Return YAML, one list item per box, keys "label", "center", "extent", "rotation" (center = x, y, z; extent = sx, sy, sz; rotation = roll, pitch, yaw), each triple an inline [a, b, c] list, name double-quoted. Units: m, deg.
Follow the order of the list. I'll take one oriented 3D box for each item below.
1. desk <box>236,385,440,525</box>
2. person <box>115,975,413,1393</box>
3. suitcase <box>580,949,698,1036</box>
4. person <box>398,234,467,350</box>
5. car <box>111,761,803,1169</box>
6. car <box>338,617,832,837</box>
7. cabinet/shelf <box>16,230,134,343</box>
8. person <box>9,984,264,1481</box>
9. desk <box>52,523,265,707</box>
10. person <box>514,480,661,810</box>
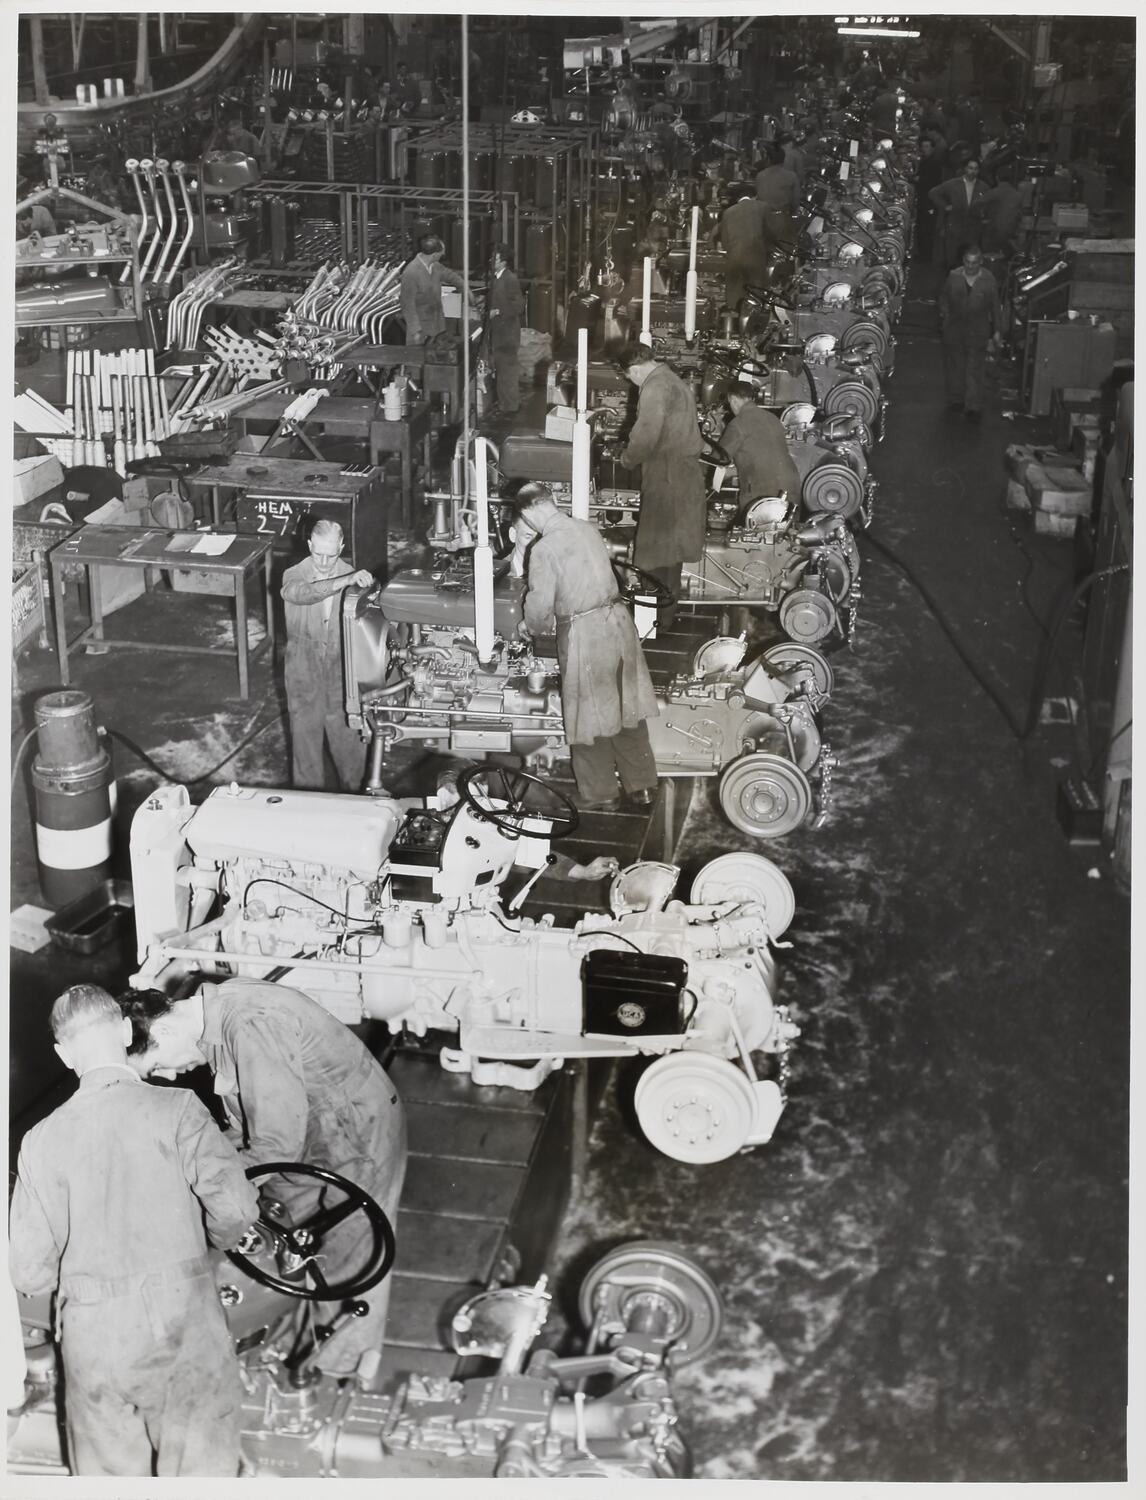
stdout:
- label: "desk"
  center: [-2.163, -2.565, 11.901]
  extent: [0.675, 0.850, 1.315]
  rotation: [20, 8, -6]
- label: "person"
  center: [-0.859, 1.311, 3.825]
  extent: [0.728, 1.375, 0.599]
  rotation: [-8, 10, -15]
- label: "suitcase"
  center: [0.211, 0.872, 4.755]
  extent: [0.431, 0.315, 0.281]
  rotation: [6, 39, 8]
- label: "person"
  center: [-1.403, -4.449, 13.086]
  extent: [0.521, 0.997, 1.451]
  rotation: [-2, 15, -5]
- label: "car"
  center: [-0.452, 0.633, 5.329]
  extent: [2.426, 1.184, 1.394]
  rotation: [6, 26, 5]
- label: "car"
  center: [0.260, 0.064, 6.928]
  extent: [1.985, 0.793, 1.300]
  rotation: [4, 33, 4]
- label: "cabinet/shelf"
  center: [-4.795, -4.584, 12.889]
  extent: [1.156, 1.064, 2.165]
  rotation: [-5, 16, -17]
- label: "person"
  center: [-0.969, 1.155, 3.011]
  extent: [0.504, 1.224, 0.322]
  rotation: [-4, 14, -13]
- label: "desk"
  center: [-2.807, -0.921, 9.066]
  extent: [1.176, 0.908, 0.644]
  rotation: [3, 19, -5]
- label: "person"
  center: [0.094, -0.459, 7.048]
  extent: [0.747, 1.838, 0.479]
  rotation: [-13, 18, -40]
